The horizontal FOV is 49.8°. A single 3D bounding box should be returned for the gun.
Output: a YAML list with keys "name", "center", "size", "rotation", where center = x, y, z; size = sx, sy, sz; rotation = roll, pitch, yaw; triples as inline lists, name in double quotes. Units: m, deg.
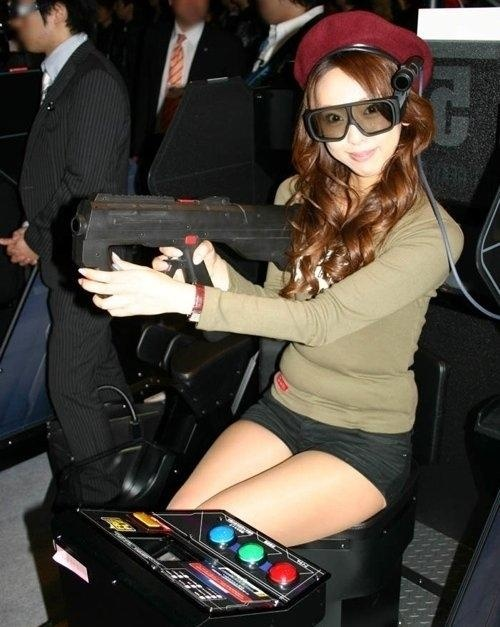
- name: "gun"
  center: [-0.101, -0.154, 1.154]
  size: [0.090, 0.185, 0.599]
  rotation: [4, 10, 42]

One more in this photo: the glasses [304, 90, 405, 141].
- name: "glasses"
  center: [0.196, -0.390, 1.103]
  size: [0.202, 0.065, 0.064]
  rotation: [4, 9, 37]

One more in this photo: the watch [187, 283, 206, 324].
- name: "watch"
  center: [-0.104, -0.014, 1.019]
  size: [0.033, 0.077, 0.058]
  rotation: [-5, 8, -21]
